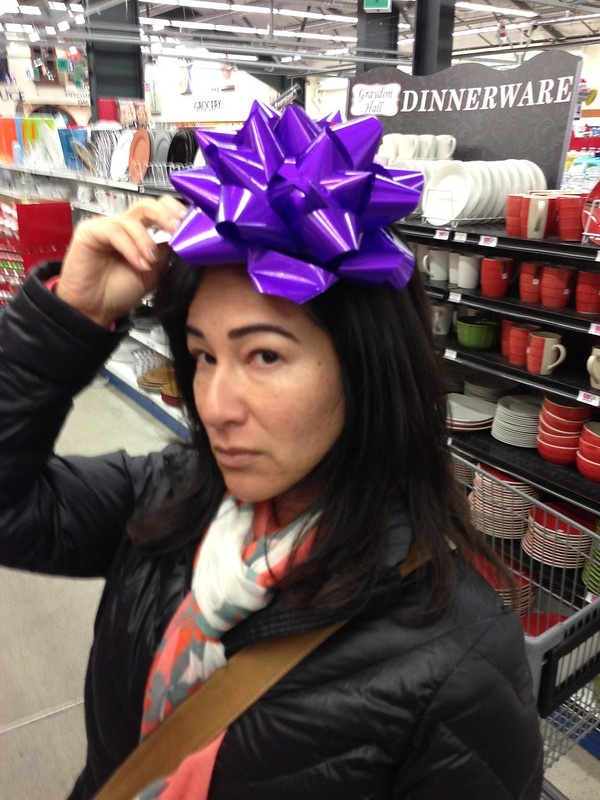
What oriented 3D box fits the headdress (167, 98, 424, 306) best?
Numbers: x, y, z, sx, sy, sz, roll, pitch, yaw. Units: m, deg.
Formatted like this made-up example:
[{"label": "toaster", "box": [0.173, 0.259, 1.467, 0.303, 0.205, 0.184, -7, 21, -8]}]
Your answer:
[{"label": "headdress", "box": [-0.003, -0.216, 0.617, 0.250, 0.198, 0.240, 18, 26, 36]}]
